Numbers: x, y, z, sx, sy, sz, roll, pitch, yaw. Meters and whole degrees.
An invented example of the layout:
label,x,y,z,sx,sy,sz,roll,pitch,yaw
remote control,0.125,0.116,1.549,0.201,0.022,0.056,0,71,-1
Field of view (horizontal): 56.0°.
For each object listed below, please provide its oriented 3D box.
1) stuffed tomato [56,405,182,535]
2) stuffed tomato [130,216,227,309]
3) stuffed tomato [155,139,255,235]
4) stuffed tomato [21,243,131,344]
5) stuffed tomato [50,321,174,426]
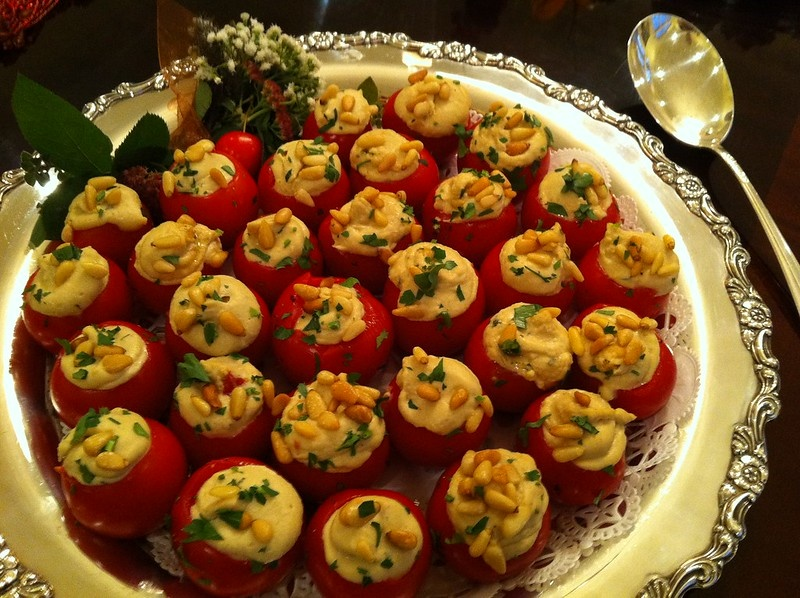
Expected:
label,x,y,z,sx,sy,sz,roll,pitch,yaw
stuffed tomato,-0.891,0.557,2.393,0.243,0.245,0.253,27,49,24
stuffed tomato,-0.775,-0.152,2.844,0.324,0.366,0.324,9,51,-2
stuffed tomato,-0.748,-0.414,2.858,0.220,0.233,0.379,-21,36,-35
stuffed tomato,-1.179,-0.049,2.731,0.285,0.282,0.288,2,8,-30
stuffed tomato,-1.007,0.254,2.647,0.371,0.362,0.388,-4,61,-13
